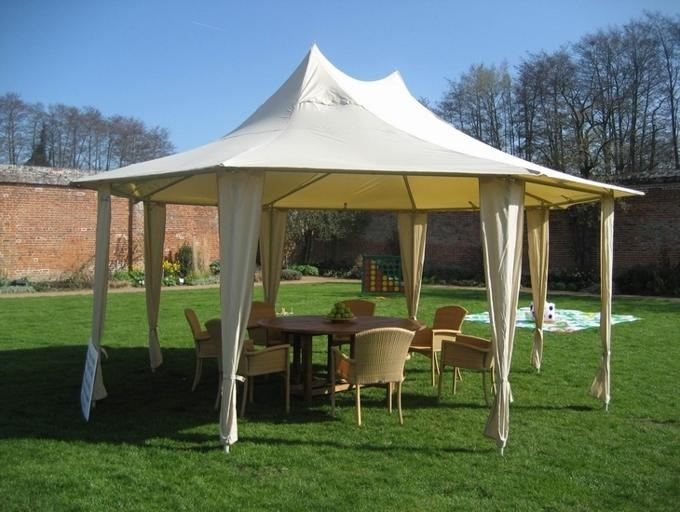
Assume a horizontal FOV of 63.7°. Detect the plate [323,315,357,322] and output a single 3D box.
[{"bbox_3d":[0.002,0.955,8.292,0.446,0.088,0.256,0,6,-5],"label":"plate"}]
